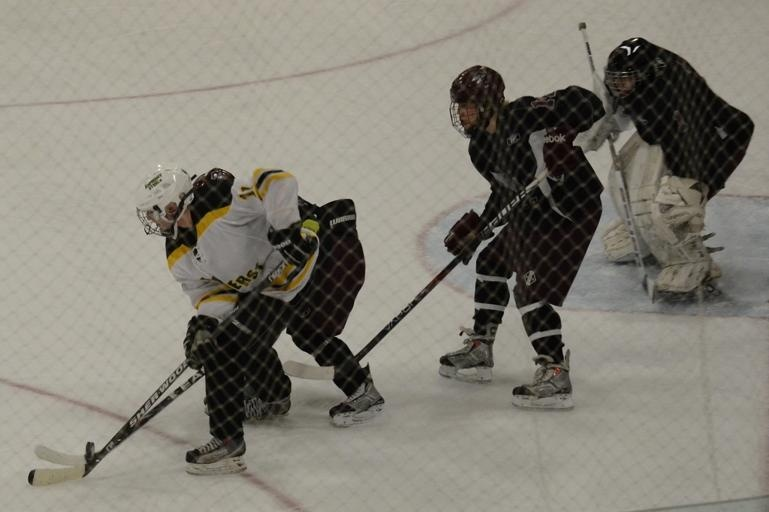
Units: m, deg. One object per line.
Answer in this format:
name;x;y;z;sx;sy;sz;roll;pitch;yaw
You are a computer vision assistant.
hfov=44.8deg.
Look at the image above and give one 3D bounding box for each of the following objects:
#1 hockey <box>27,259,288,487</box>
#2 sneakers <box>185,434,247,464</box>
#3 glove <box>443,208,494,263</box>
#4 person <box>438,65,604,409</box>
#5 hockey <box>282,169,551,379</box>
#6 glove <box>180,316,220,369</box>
hockey;-1.176;0.478;4.941;0.273;0.522;1.796;41;64;14
sneakers;-0.823;0.963;4.683;0.379;0.175;0.108;5;-6;-5
glove;0.483;-0.092;5.216;0.285;0.106;0.265;-50;59;4
person;0.741;-0.157;4.902;0.880;1.622;0.788;-6;21;13
hockey;0.172;0.146;5.326;1.750;0.265;0.238;-37;72;-6
glove;-0.945;0.434;4.740;0.093;0.236;0.239;9;15;5
